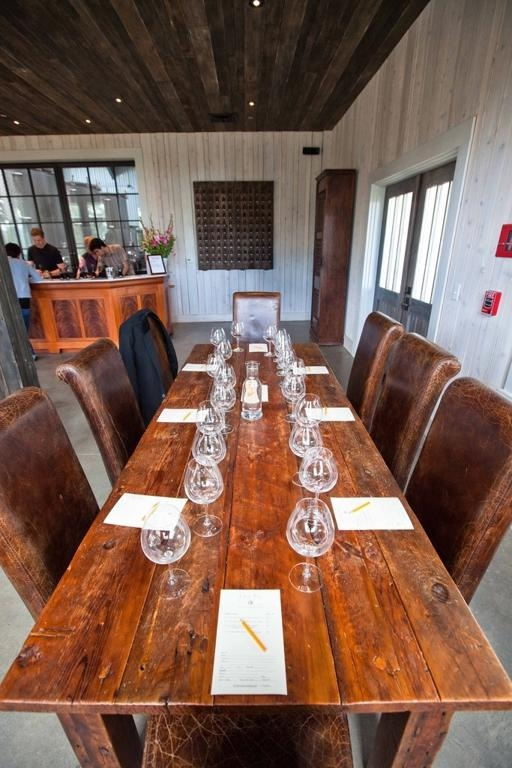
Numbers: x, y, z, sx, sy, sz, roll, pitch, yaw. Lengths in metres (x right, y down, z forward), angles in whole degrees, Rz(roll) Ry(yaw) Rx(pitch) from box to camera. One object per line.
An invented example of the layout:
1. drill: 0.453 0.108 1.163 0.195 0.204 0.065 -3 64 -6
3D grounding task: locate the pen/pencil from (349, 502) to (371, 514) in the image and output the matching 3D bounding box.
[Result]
1. pen/pencil: 0.255 0.304 0.946 0.018 0.012 0.078 2 7 38

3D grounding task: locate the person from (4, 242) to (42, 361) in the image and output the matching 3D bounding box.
1. person: -2.583 -0.908 4.482 0.285 1.348 0.973 -10 23 -29

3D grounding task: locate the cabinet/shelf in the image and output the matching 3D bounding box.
1. cabinet/shelf: 0.989 -1.613 5.134 0.477 2.147 0.585 4 20 8

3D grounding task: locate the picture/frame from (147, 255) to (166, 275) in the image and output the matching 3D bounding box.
1. picture/frame: -1.365 -1.637 5.298 0.029 0.295 0.299 -4 16 32

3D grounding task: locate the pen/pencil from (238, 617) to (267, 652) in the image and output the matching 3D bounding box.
1. pen/pencil: -0.010 0.399 0.614 0.013 0.016 0.103 -1 14 -23

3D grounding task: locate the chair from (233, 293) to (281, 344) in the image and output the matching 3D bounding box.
1. chair: 0.007 -0.585 3.329 0.387 0.772 0.427 0 14 0

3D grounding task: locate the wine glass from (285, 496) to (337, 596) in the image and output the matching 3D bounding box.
1. wine glass: 0.097 0.312 0.828 0.113 0.269 0.122 1 27 4

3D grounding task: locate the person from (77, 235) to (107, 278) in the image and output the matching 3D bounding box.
1. person: -2.250 -1.732 5.259 0.390 0.517 1.076 -9 22 -26
